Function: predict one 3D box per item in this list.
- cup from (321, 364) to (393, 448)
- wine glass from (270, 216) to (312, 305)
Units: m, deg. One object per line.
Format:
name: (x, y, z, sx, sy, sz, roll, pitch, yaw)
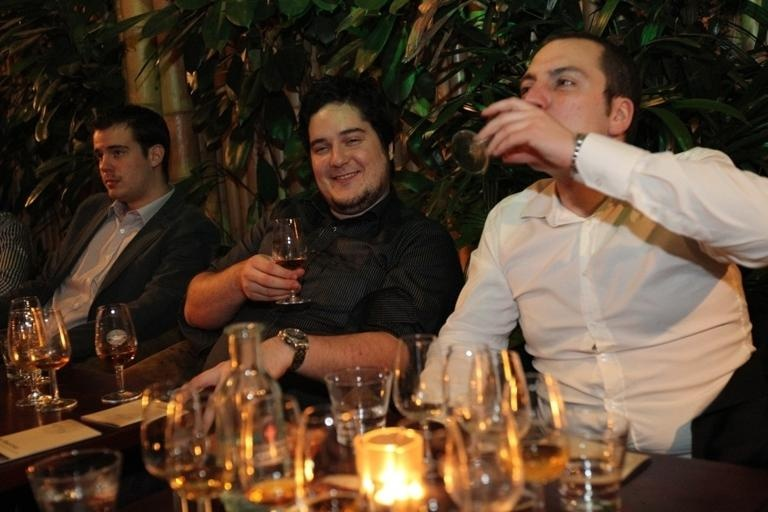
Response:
cup: (-0.059, 0.423, 1.674, 0.198, 0.202, 0.210, -3, -18, -1)
wine glass: (-0.376, 0.032, 2.584, 0.125, 0.343, 0.299, -3, -5, -7)
